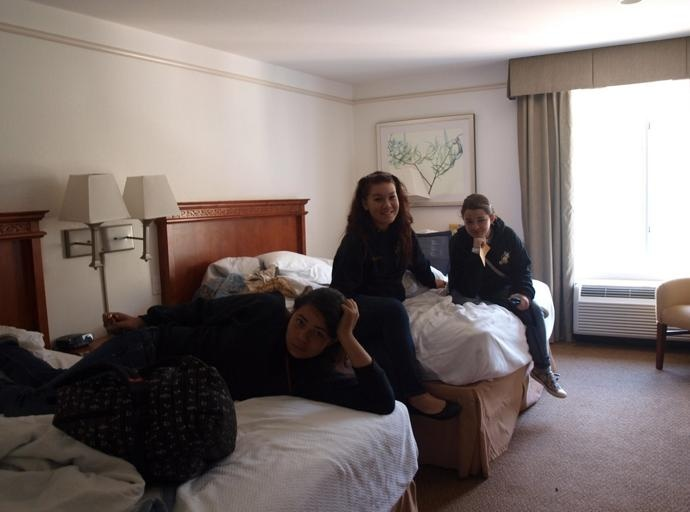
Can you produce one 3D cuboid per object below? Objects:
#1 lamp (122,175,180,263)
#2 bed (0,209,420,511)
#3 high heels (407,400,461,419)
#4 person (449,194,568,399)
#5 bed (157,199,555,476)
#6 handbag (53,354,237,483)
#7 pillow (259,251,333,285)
[{"bbox_3d":[-1.285,-0.264,3.362,0.338,0.549,0.183,-5,8,-22],"label":"lamp"},{"bbox_3d":[-1.578,0.612,3.769,1.753,1.193,1.850,6,12,27],"label":"bed"},{"bbox_3d":[0.468,0.818,2.712,0.303,0.129,0.113,-5,0,11],"label":"high heels"},{"bbox_3d":[1.015,0.259,3.211,0.705,1.310,0.285,-1,7,10],"label":"person"},{"bbox_3d":[-0.015,0.382,3.655,1.979,1.299,2.018,3,6,26],"label":"bed"},{"bbox_3d":[-0.678,0.537,1.755,0.501,0.263,0.407,14,25,8],"label":"handbag"},{"bbox_3d":[-0.331,0.087,4.001,0.332,0.108,0.392,20,6,39],"label":"pillow"}]
